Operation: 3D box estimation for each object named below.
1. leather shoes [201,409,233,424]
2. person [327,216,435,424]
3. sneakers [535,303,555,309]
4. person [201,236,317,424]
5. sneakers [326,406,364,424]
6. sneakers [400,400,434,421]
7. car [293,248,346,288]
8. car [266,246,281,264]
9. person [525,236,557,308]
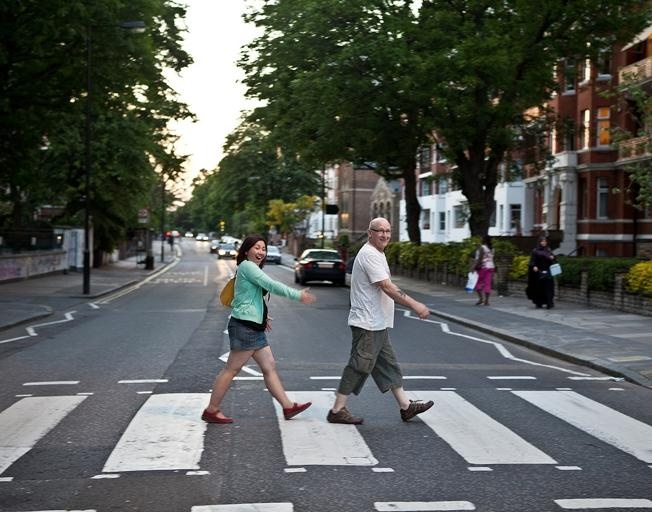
[{"bbox_3d":[-1.133,1.657,6.909,0.313,0.094,0.135,3,2,-7],"label":"leather shoes"},{"bbox_3d":[0.592,0.657,7.474,1.068,2.208,1.438,1,3,5],"label":"person"},{"bbox_3d":[6.548,1.482,19.691,0.161,0.240,0.438,2,-9,-29],"label":"sneakers"},{"bbox_3d":[-0.756,0.759,7.009,1.095,1.951,1.117,0,3,-7],"label":"person"},{"bbox_3d":[0.197,1.662,6.934,0.376,0.159,0.170,0,2,-1],"label":"sneakers"},{"bbox_3d":[0.959,1.660,7.153,0.356,0.132,0.099,-20,26,2],"label":"sneakers"},{"bbox_3d":[-0.331,0.603,31.854,2.843,1.691,5.642,1,1,-2],"label":"car"},{"bbox_3d":[-4.863,-0.186,62.157,2.266,1.388,4.095,0,-4,-5],"label":"car"},{"bbox_3d":[6.364,0.490,19.754,0.791,2.088,0.989,1,3,15],"label":"person"}]
